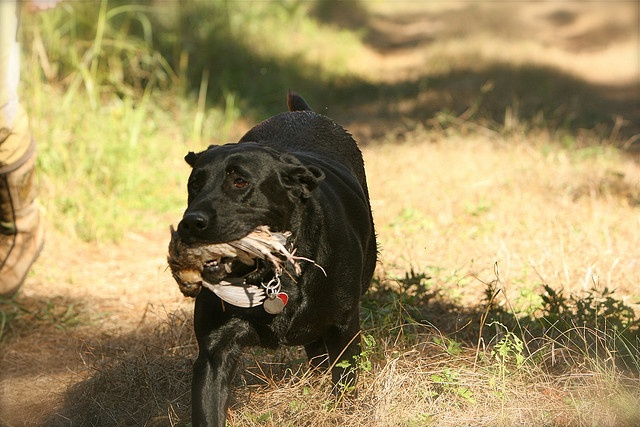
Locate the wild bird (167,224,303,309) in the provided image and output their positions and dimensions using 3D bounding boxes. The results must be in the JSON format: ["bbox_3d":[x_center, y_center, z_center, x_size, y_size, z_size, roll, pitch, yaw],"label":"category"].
[{"bbox_3d":[-0.703,0.402,5.388,0.739,0.417,0.736,-6,-12,-6],"label":"wild bird"}]
